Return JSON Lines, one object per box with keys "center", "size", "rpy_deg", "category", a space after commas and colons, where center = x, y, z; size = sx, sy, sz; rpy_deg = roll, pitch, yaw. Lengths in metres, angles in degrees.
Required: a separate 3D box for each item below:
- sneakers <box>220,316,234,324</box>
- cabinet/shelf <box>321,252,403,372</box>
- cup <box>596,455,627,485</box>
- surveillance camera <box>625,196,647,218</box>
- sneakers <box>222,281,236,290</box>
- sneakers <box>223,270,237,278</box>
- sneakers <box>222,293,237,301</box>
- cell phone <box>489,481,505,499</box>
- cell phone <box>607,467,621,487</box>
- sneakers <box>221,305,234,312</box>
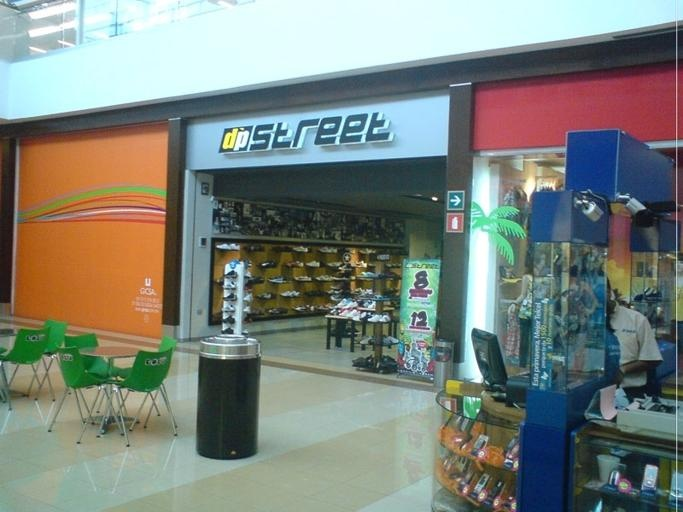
{"center": [-2.401, 1.329, 12.273], "size": [0.244, 0.084, 0.127], "rpy_deg": [-2, 4, -5], "category": "sneakers"}
{"center": [0.364, 1.221, 12.469], "size": [1.432, 2.307, 2.210], "rpy_deg": [-1, 3, -43], "category": "cabinet/shelf"}
{"center": [1.775, 1.430, 3.919], "size": [0.140, 0.172, 0.195], "rpy_deg": [10, -9, -40], "category": "cup"}
{"center": [2.319, -0.392, 4.590], "size": [0.169, 0.140, 0.099], "rpy_deg": [31, -29, -17], "category": "surveillance camera"}
{"center": [-2.366, 0.589, 12.313], "size": [0.257, 0.238, 0.151], "rpy_deg": [2, 2, -7], "category": "sneakers"}
{"center": [-2.339, 0.366, 12.241], "size": [0.221, 0.107, 0.295], "rpy_deg": [0, 1, -2], "category": "sneakers"}
{"center": [-2.360, 0.861, 12.388], "size": [0.336, 0.129, 0.104], "rpy_deg": [5, -2, -7], "category": "sneakers"}
{"center": [1.158, 1.732, 4.337], "size": [0.084, 0.146, 0.036], "rpy_deg": [25, -5, 41], "category": "cell phone"}
{"center": [1.843, 1.478, 3.919], "size": [0.088, 0.120, 0.037], "rpy_deg": [3, 2, 21], "category": "cell phone"}
{"center": [-2.389, 1.101, 12.315], "size": [0.231, 0.133, 0.107], "rpy_deg": [-4, 3, -12], "category": "sneakers"}
